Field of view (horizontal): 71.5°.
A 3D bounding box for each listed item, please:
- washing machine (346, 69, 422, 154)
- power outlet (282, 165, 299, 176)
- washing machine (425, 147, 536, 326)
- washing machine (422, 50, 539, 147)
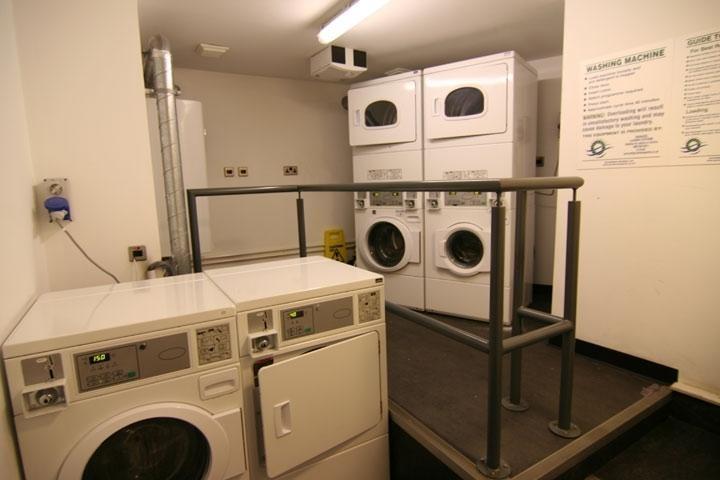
[{"bbox_3d":[0.308,-1.241,4.891,0.807,0.685,0.441,3,8,34],"label":"washing machine"},{"bbox_3d":[-0.805,-0.821,5.702,0.188,0.125,0.036,-11,15,-42],"label":"power outlet"},{"bbox_3d":[1.160,-0.137,4.766,1.164,1.634,1.176,-8,17,-11],"label":"washing machine"},{"bbox_3d":[1.111,-1.238,4.562,0.929,0.722,0.687,5,9,38],"label":"washing machine"}]
